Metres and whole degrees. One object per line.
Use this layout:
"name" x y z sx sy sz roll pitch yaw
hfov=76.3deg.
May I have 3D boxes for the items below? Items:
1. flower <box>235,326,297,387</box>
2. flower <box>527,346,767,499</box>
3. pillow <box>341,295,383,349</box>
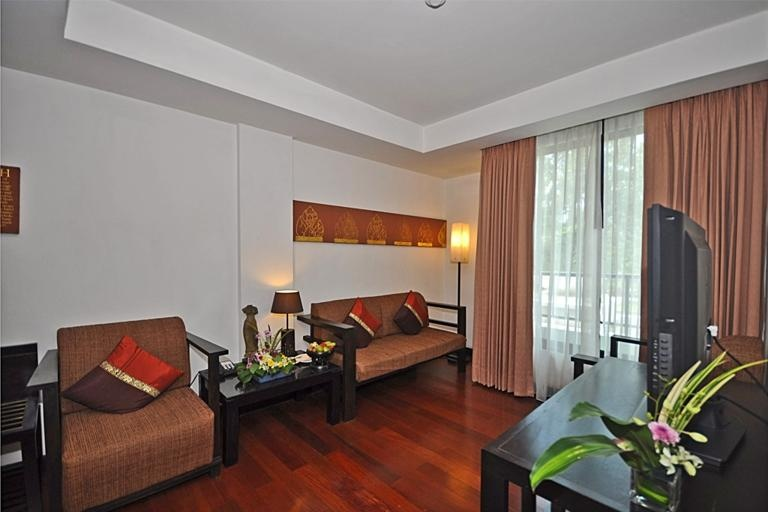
"flower" -1.117 0.923 4.558 0.426 0.313 0.422 5 5 33
"flower" 1.397 0.960 2.693 1.323 0.749 0.483 -3 1 -22
"pillow" -0.236 0.735 5.406 0.160 0.431 0.574 -13 -47 40
